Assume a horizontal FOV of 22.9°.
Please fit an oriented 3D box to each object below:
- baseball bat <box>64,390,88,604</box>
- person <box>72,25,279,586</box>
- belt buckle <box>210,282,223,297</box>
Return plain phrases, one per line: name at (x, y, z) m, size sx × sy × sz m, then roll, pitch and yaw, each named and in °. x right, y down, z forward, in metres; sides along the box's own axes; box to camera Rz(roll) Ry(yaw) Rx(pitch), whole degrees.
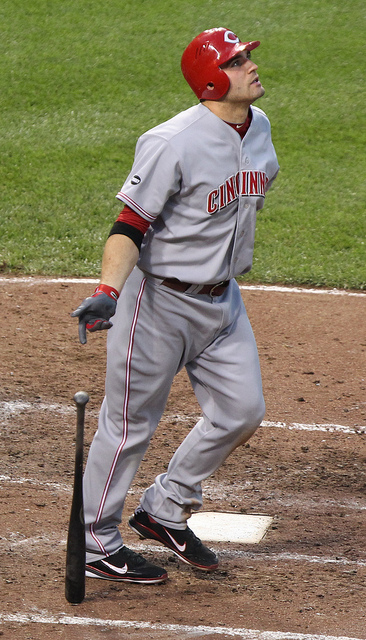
baseball bat at (-0.333, 0.595, 2.969) m, size 0.084 × 0.700 × 0.076 m, roll 3°, pitch 8°, yaw 4°
person at (0.031, 0.018, 3.191) m, size 0.626 × 1.981 × 0.804 m, roll 12°, pitch 23°, yaw 5°
belt buckle at (0.114, -0.109, 3.175) m, size 0.012 × 0.039 × 0.042 m, roll 37°, pitch 11°, yaw 10°
